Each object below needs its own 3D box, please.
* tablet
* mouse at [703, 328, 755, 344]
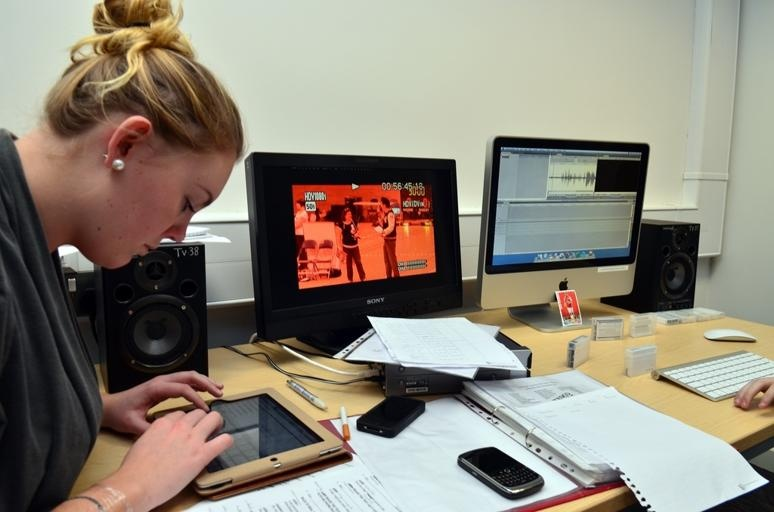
[{"bbox_3d":[-0.326,0.398,1.191,0.400,0.036,0.399,2,12,-16],"label":"tablet"},{"bbox_3d":[1.138,0.261,1.747,0.112,0.025,0.065,-4,4,3],"label":"mouse"}]
